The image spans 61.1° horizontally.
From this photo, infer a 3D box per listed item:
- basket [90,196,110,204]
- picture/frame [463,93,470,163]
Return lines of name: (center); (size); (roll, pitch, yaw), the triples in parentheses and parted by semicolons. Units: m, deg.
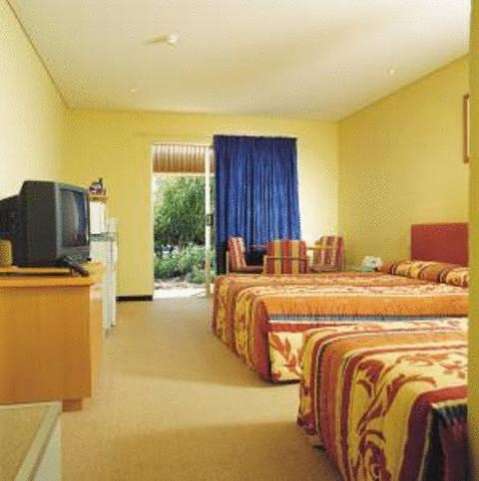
basket: (-1.472, -0.440, 4.261); (0.164, 0.066, 0.150); (-1, 3, -7)
picture/frame: (2.049, -1.019, 3.673); (0.122, 0.622, 0.017); (-11, 12, -26)
